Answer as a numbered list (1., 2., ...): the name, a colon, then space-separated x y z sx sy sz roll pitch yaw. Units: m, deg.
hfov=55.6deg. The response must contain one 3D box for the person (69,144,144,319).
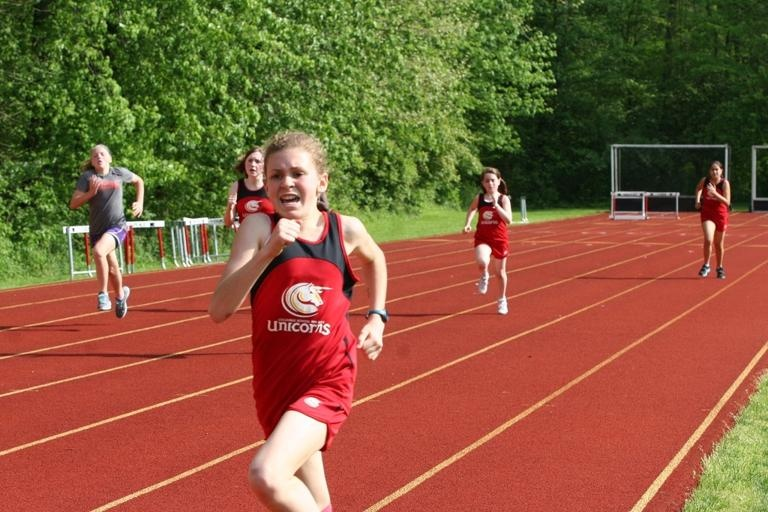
1. person: -4.002 -0.309 10.701 0.802 2.624 0.958 -2 8 -3

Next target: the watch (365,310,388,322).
1. watch: -0.035 0.423 5.051 0.098 0.102 0.106 -7 11 -7

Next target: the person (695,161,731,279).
1. person: 6.221 -0.698 13.886 0.642 2.215 1.196 3 5 33

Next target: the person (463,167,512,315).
1. person: 1.540 -0.264 11.323 0.789 2.303 1.013 0 1 21
